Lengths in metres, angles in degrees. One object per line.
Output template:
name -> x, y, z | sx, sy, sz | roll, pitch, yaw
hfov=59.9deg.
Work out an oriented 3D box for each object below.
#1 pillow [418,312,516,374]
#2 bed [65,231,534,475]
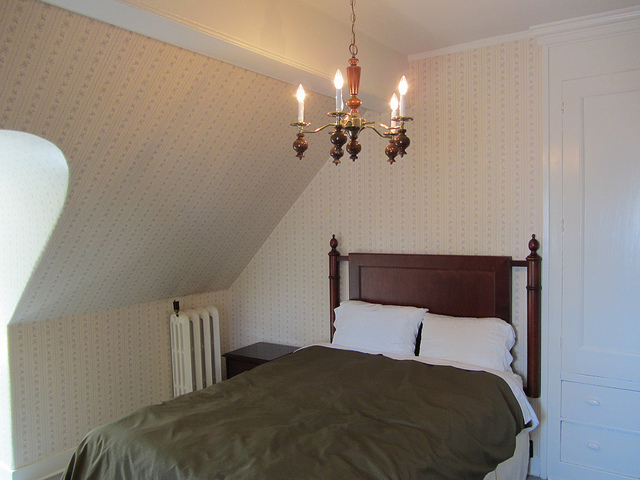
pillow -> 1.206, 0.706, 4.443 | 0.894, 0.488, 0.598 | -1, -2, 31
bed -> -0.150, 0.820, 4.143 | 1.311, 1.187, 1.776 | 7, 12, 34
